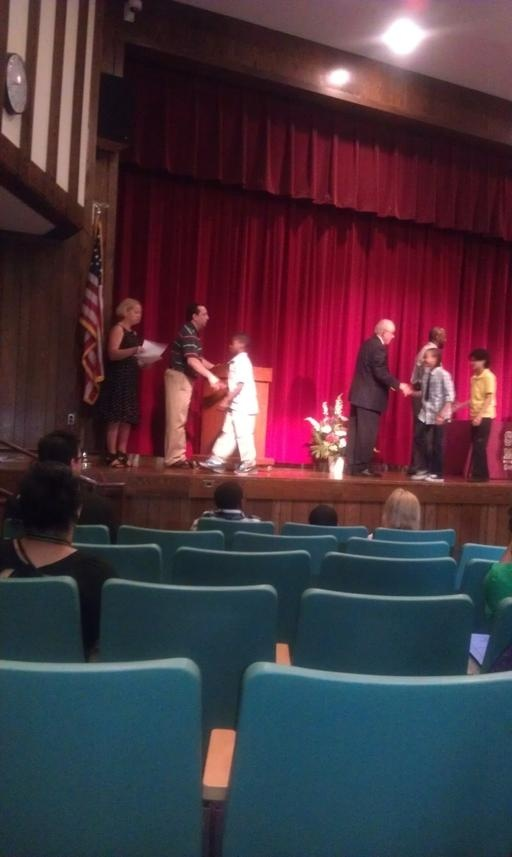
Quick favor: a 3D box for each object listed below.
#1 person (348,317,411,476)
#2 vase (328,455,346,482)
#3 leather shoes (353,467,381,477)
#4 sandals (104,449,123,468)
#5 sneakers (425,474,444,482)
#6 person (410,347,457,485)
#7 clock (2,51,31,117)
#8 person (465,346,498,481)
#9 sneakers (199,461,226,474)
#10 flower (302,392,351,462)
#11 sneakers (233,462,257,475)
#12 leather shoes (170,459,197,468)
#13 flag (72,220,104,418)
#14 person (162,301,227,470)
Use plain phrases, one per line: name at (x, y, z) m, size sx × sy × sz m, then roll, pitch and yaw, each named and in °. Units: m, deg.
person at (1.118, -0.296, 5.994) m, size 0.478 × 1.222 × 0.511 m, roll 5°, pitch 3°, yaw 8°
vase at (0.836, 0.397, 6.533) m, size 0.180 × 0.302 × 0.184 m, roll -2°, pitch -5°, yaw 41°
leather shoes at (1.073, 0.418, 6.197) m, size 0.266 × 0.117 × 0.163 m, roll -1°, pitch 0°, yaw 5°
sandals at (-1.195, 0.250, 5.352) m, size 0.107 × 0.096 × 0.221 m, roll 0°, pitch -6°, yaw -25°
sneakers at (1.629, 0.447, 5.817) m, size 0.159 × 0.062 × 0.464 m, roll 7°, pitch 3°, yaw 17°
person at (1.676, -0.137, 6.010) m, size 0.310 × 1.113 × 0.614 m, roll 5°, pitch 3°, yaw 14°
clock at (-1.373, -1.966, 3.622) m, size 0.056 × 0.289 × 0.264 m, roll 1°, pitch 12°, yaw 9°
person at (2.370, -0.171, 6.758) m, size 0.293 × 1.299 × 0.420 m, roll 5°, pitch 3°, yaw 20°
sneakers at (-0.396, 0.312, 5.560) m, size 0.227 × 0.114 × 0.087 m, roll 11°, pitch 7°, yaw 33°
flower at (0.895, 0.003, 6.934) m, size 0.346 × 0.619 × 0.333 m, roll 4°, pitch -26°, yaw -7°
sneakers at (-0.088, 0.342, 5.489) m, size 0.207 × 0.097 × 0.074 m, roll -2°, pitch 3°, yaw -24°
leather shoes at (-0.639, 0.316, 5.633) m, size 0.231 × 0.111 × 0.084 m, roll -5°, pitch -2°, yaw -3°
flag at (-1.339, -0.941, 5.242) m, size 0.221 × 1.512 × 0.478 m, roll 4°, pitch 3°, yaw -16°
person at (-0.569, -0.371, 5.546) m, size 0.508 × 1.425 × 0.295 m, roll 7°, pitch 3°, yaw 40°
